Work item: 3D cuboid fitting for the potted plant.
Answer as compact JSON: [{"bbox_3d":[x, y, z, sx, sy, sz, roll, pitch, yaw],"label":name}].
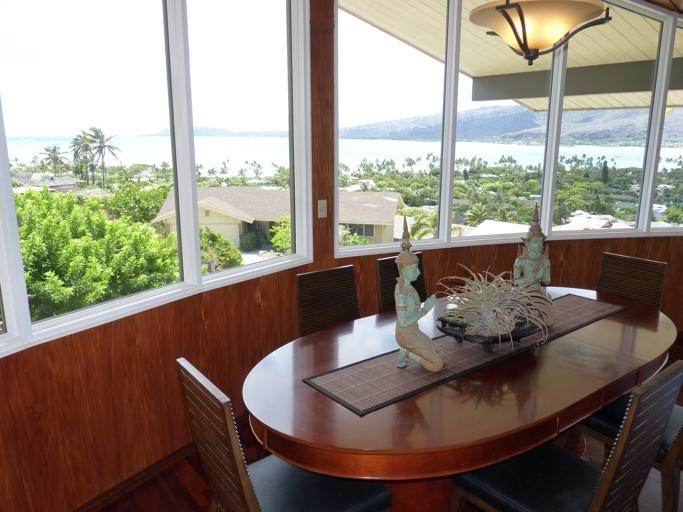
[{"bbox_3d":[0.716,0.175,2.563,0.531,0.228,0.547,-10,18,-37],"label":"potted plant"}]
